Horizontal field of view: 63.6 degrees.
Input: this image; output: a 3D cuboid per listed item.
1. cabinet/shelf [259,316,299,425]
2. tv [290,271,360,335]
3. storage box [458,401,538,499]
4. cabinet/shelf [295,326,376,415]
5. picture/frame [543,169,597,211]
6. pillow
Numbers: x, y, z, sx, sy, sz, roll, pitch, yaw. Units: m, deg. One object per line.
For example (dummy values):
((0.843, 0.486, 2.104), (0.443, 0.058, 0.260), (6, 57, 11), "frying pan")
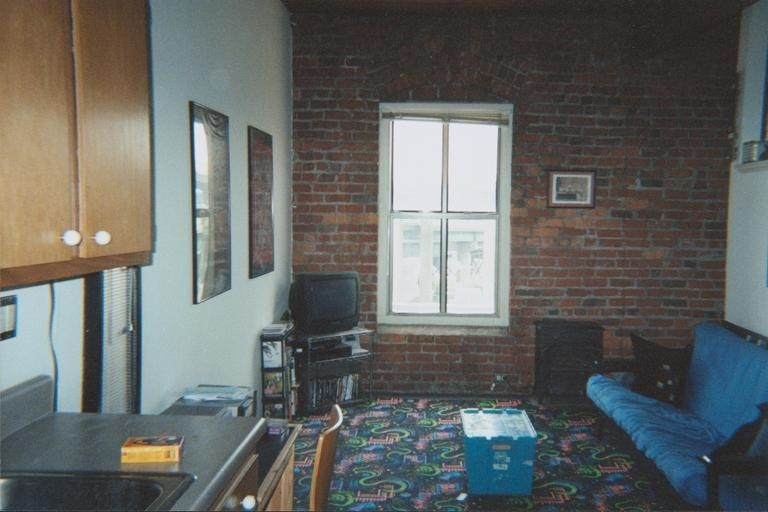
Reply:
((-0.856, 0.952, 5.059), (0.253, 0.795, 0.411), (1, 13, 4), "cabinet/shelf")
((-0.502, 0.300, 5.442), (0.712, 0.559, 0.480), (-1, 1, -30), "tv")
((0.779, 1.340, 4.269), (0.485, 0.431, 0.423), (1, 13, 5), "storage box")
((-0.439, 0.969, 5.245), (0.803, 0.698, 0.302), (-2, 0, -35), "cabinet/shelf")
((1.691, -0.624, 5.597), (0.395, 0.315, 0.033), (0, 0, 0), "picture/frame")
((2.140, 0.869, 4.809), (0.140, 0.448, 0.425), (-10, 18, -38), "pillow")
